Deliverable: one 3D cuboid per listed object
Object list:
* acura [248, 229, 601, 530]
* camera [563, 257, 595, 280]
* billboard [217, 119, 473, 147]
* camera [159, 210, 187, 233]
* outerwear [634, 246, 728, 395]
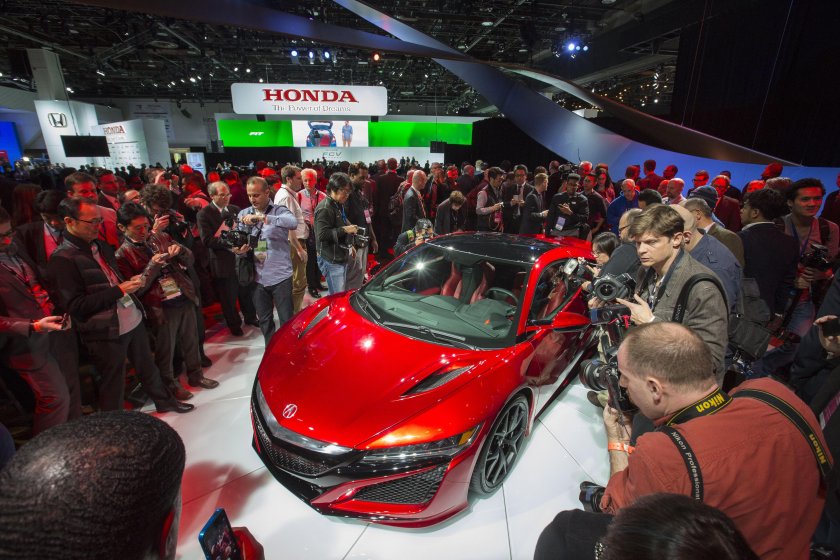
[{"bbox_3d":[0.354,0.574,3.847,1.850,0.941,3.213,24,36,29],"label":"acura"},{"bbox_3d":[1.436,-0.093,3.916,0.233,0.109,0.261,20,7,14],"label":"camera"},{"bbox_3d":[-2.686,-6.417,18.311,9.919,1.398,4.692,-10,20,-31],"label":"billboard"},{"bbox_3d":[-2.386,-0.584,4.177,0.202,0.201,0.085,-43,35,-17],"label":"camera"},{"bbox_3d":[1.767,0.255,2.892,0.529,0.966,0.899,-1,29,19],"label":"outerwear"}]
